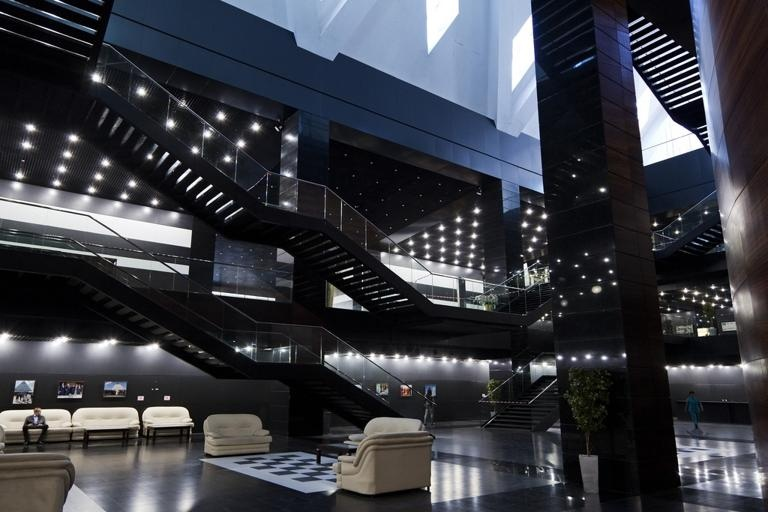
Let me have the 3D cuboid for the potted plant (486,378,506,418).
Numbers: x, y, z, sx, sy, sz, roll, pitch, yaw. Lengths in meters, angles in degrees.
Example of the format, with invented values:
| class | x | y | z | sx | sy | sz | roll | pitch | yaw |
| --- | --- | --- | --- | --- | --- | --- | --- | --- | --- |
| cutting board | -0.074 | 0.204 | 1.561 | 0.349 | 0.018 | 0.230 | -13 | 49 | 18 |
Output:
| class | x | y | z | sx | sy | sz | roll | pitch | yaw |
| --- | --- | --- | --- | --- | --- | --- | --- | --- | --- |
| potted plant | 4.822 | 6.155 | 25.034 | 0.818 | 1.709 | 2.064 | -4 | -18 | 10 |

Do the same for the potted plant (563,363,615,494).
| class | x | y | z | sx | sy | sz | roll | pitch | yaw |
| --- | --- | --- | --- | --- | --- | --- | --- | --- | --- |
| potted plant | 4.869 | 4.023 | 13.505 | 1.024 | 2.831 | 0.767 | -4 | -18 | 11 |

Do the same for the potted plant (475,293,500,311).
| class | x | y | z | sx | sy | sz | roll | pitch | yaw |
| --- | --- | --- | --- | --- | --- | --- | --- | --- | --- |
| potted plant | 4.089 | 1.818 | 23.040 | 1.068 | 0.724 | 0.609 | 0 | -1 | -16 |

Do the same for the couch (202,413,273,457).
| class | x | y | z | sx | sy | sz | roll | pitch | yaw |
| --- | --- | --- | --- | --- | --- | --- | --- | --- | --- |
| couch | -4.380 | 5.454 | 17.461 | 1.869 | 1.262 | 1.794 | 7 | -12 | -33 |
